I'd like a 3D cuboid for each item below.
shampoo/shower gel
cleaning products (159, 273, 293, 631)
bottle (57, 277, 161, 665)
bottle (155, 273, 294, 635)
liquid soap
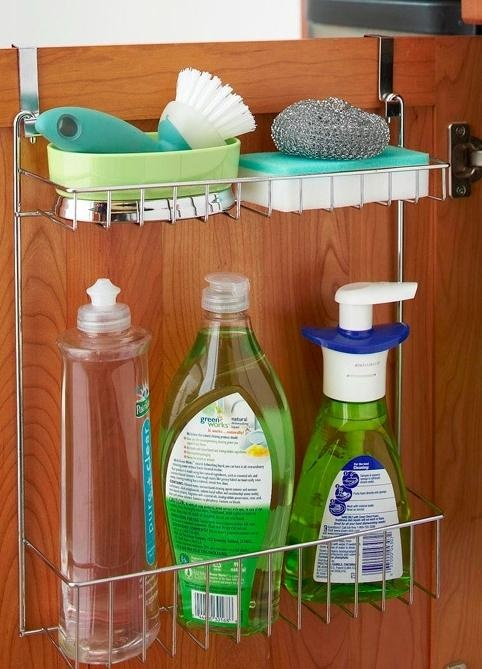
[{"bbox_3d":[-0.078,0.085,0.454,0.057,0.238,0.073,-3,9,-15],"label":"shampoo/shower gel"},{"bbox_3d":[-0.022,0.087,0.502,0.101,0.259,0.115,-9,12,-31],"label":"cleaning products"},{"bbox_3d":[-0.096,0.089,0.480,0.075,0.258,0.146,-2,10,0],"label":"bottle"},{"bbox_3d":[-0.018,0.094,0.512,0.086,0.266,0.084,3,18,-1],"label":"bottle"},{"bbox_3d":[0.084,0.096,0.574,0.132,0.277,0.076,-1,7,-5],"label":"liquid soap"}]
